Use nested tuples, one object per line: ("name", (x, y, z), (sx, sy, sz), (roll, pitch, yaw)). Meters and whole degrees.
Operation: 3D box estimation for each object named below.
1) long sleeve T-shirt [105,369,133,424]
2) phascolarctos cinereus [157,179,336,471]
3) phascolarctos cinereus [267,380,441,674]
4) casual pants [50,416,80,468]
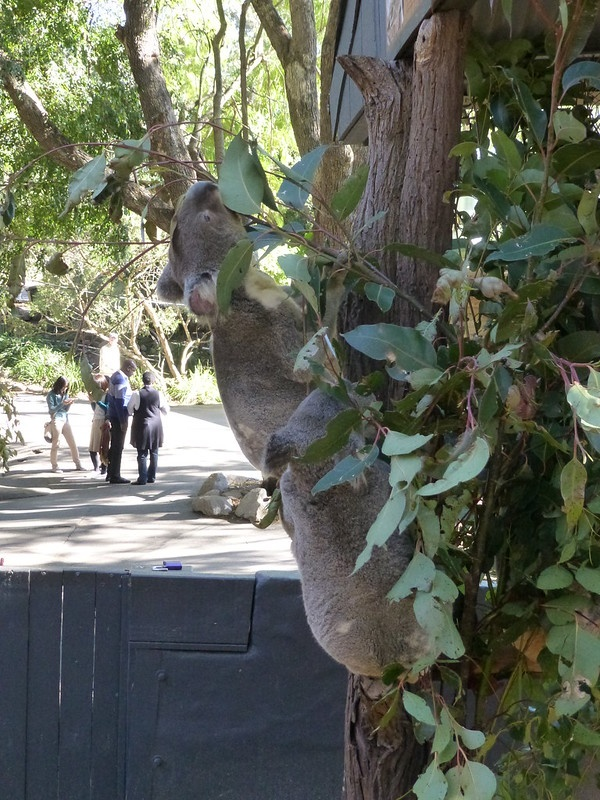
("long sleeve T-shirt", (-2.559, -0.038, 11.482), (0.320, 0.610, 0.697), (-3, 18, -14))
("phascolarctos cinereus", (-0.104, -0.154, 1.739), (0.338, 0.634, 0.500), (0, 4, -18))
("phascolarctos cinereus", (0.102, 0.289, 1.607), (0.324, 0.617, 0.359), (2, 4, 6))
("casual pants", (-3.811, 0.600, 13.199), (0.467, 1.242, 0.264), (-3, -33, -20))
